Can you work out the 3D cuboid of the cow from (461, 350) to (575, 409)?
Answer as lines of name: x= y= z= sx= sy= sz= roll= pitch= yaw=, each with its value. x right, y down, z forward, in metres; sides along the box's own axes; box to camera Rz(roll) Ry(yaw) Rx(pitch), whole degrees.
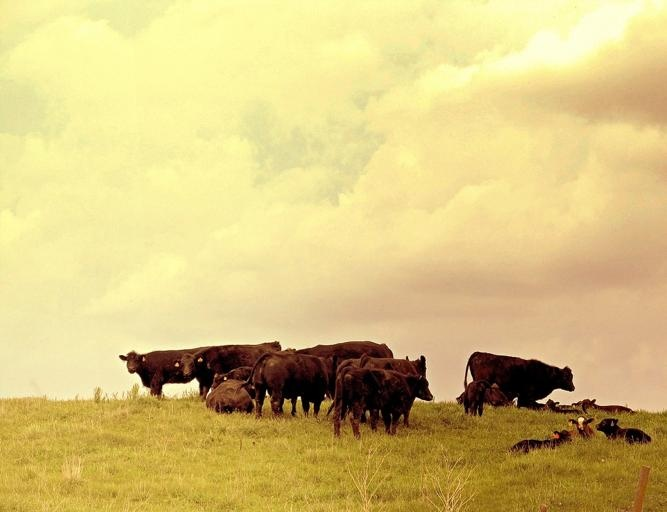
cow: x=7.534 y=5.249 z=60.553 sx=4.487 sy=2.766 sz=1.221 roll=7 pitch=10 yaw=2

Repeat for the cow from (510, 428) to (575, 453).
cow: x=6.651 y=5.858 z=47.927 sx=2.048 sy=0.964 sz=0.812 roll=5 pitch=-21 yaw=-10
